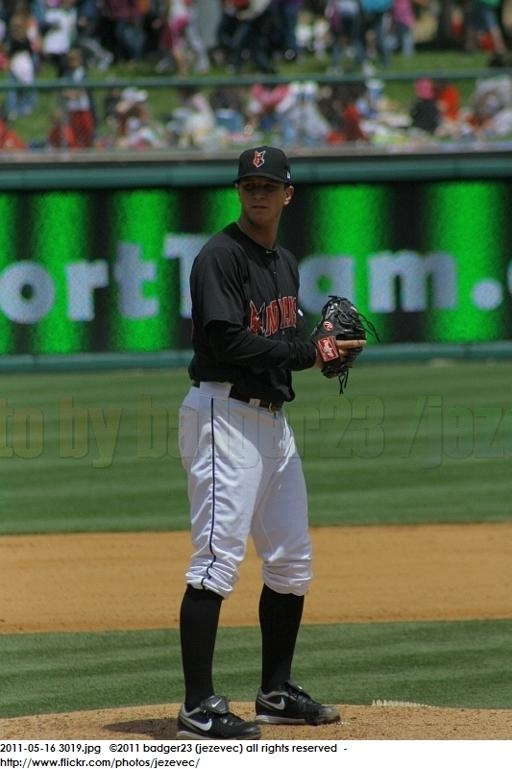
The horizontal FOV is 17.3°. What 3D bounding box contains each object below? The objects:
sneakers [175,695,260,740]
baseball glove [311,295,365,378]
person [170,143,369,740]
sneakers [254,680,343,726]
[{"bbox_3d":[-0.140,1.202,6.120,0.319,0.151,0.125,0,-4,11],"label":"sneakers"},{"bbox_3d":[0.309,-0.195,6.365,0.101,0.283,0.198,-12,-17,38],"label":"baseball glove"},{"bbox_3d":[0.014,0.190,6.210,0.614,2.134,0.372,0,2,-26],"label":"person"},{"bbox_3d":[0.161,1.190,6.329,0.345,0.161,0.132,0,-3,5],"label":"sneakers"}]
